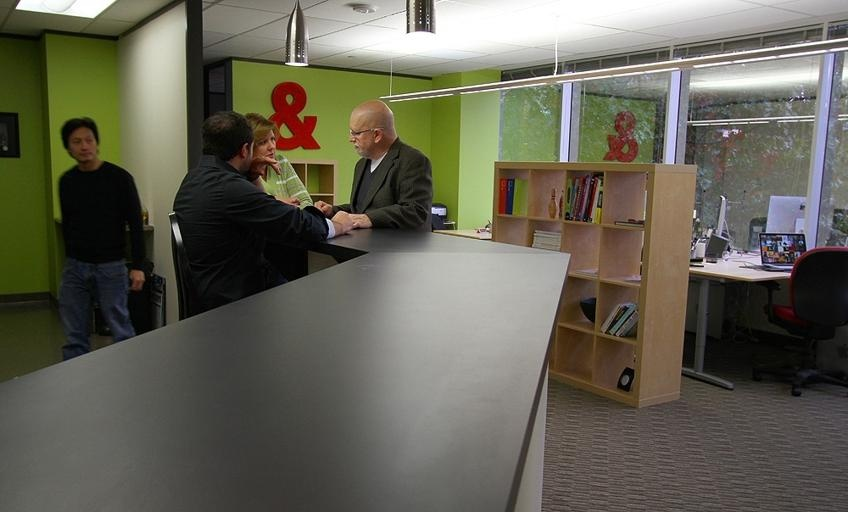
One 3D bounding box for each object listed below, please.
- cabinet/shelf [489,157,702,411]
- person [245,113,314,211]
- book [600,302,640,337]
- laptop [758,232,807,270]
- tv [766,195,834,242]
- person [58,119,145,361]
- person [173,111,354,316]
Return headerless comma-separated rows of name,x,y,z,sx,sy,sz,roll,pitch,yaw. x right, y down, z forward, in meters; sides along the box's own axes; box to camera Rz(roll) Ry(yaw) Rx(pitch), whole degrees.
cabinet/shelf,1.512,0.235,4.757,0.633,2.361,2.266,-1,5,-25
person,-1.082,-0.631,4.062,0.610,0.719,0.521,1,11,5
book,1.826,0.590,5.306,0.316,0.108,0.243,-18,13,-17
laptop,4.044,-0.095,6.549,0.590,0.369,0.433,-1,7,-6
tv,4.656,-0.488,7.151,0.545,0.732,0.777,-4,4,-44
person,-2.711,-0.128,4.726,0.684,1.978,0.500,-5,15,-24
person,-1.001,-0.244,3.290,0.831,1.137,0.431,-3,14,-17
